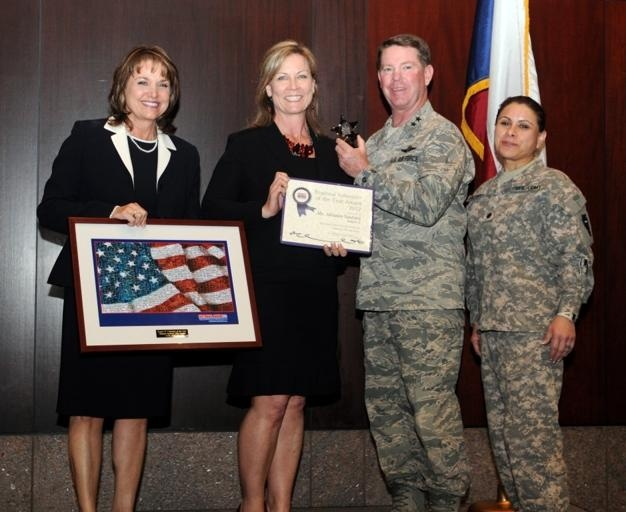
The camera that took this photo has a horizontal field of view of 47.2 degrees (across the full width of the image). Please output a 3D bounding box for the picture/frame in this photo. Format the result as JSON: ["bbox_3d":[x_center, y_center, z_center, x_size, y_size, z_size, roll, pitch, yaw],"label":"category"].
[{"bbox_3d":[-0.608,0.113,2.940,0.730,0.520,0.518,-3,14,-14],"label":"picture/frame"}]

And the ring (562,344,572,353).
[{"bbox_3d":[1.112,0.410,3.135,0.031,0.040,0.012,2,16,-4],"label":"ring"}]

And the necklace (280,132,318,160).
[{"bbox_3d":[-0.042,-0.492,3.212,0.114,0.058,0.116,6,11,-17],"label":"necklace"}]
